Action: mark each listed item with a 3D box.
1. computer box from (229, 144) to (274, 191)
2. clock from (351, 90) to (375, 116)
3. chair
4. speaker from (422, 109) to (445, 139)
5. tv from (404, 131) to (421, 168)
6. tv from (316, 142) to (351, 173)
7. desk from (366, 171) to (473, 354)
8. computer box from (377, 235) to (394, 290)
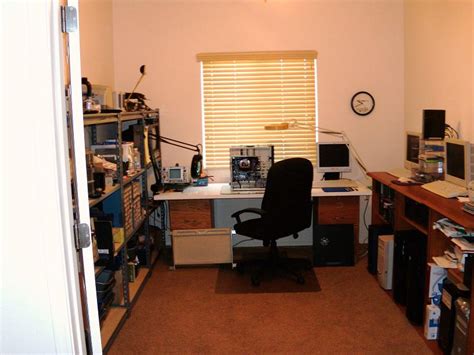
[{"bbox_3d":[0.149,-0.110,4.359,0.541,0.574,0.417,0,3,-1],"label":"computer box"},{"bbox_3d":[1.384,-0.838,4.513,0.264,0.275,0.021,-1,4,-3],"label":"clock"},{"bbox_3d":[0.365,0.371,3.921,0.749,1.163,0.738,-3,6,-20],"label":"chair"},{"bbox_3d":[1.724,-0.468,3.580,0.202,0.255,0.061,-5,14,-13],"label":"speaker"},{"bbox_3d":[1.663,-0.262,3.871,0.103,0.324,0.301,-1,14,13],"label":"tv"},{"bbox_3d":[1.047,-0.229,4.393,0.303,0.279,0.033,0,4,1],"label":"tv"},{"bbox_3d":[1.415,0.680,3.130,0.320,0.642,1.222,2,7,6],"label":"desk"},{"bbox_3d":[1.415,0.794,3.781,0.197,0.389,0.272,-2,-4,11],"label":"computer box"}]
